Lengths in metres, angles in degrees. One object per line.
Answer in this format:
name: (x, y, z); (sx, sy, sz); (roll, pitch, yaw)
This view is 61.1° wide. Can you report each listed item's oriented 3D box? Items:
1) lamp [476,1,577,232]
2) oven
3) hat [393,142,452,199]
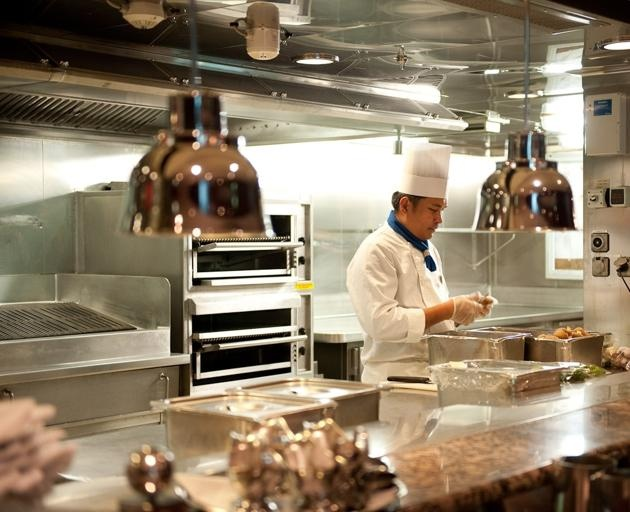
lamp: (0.764, -0.274, 1.962); (0.351, 0.526, 0.141); (1, 0, 20)
oven: (-0.819, 0.318, 3.987); (1.409, 1.267, 1.268); (-2, 2, -26)
hat: (0.528, -0.421, 2.725); (0.307, 0.239, 0.301); (1, 5, -35)
